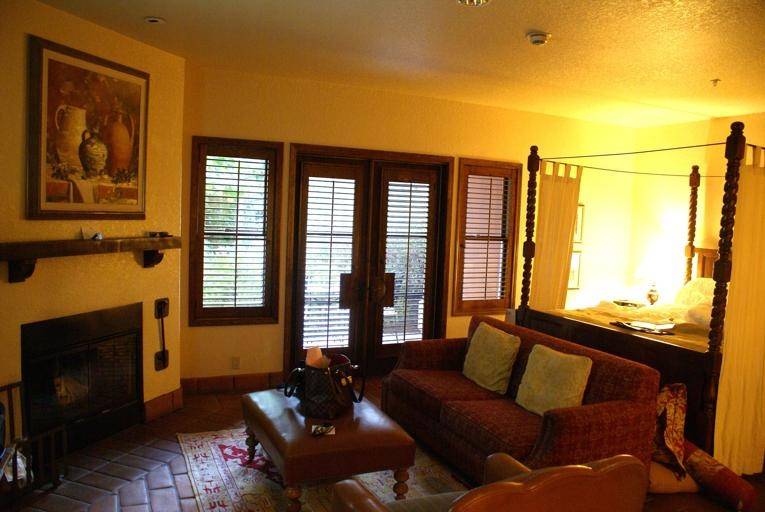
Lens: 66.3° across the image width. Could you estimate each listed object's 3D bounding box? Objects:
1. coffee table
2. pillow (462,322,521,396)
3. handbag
[{"bbox_3d":[-0.389,1.176,4.277,0.762,0.510,1.066,1,4,-25],"label":"coffee table"},{"bbox_3d":[0.984,0.858,5.356,0.457,0.849,0.719,0,-8,-13],"label":"pillow"},{"bbox_3d":[-0.492,1.005,4.577,0.569,0.378,0.407,1,1,32],"label":"handbag"}]
